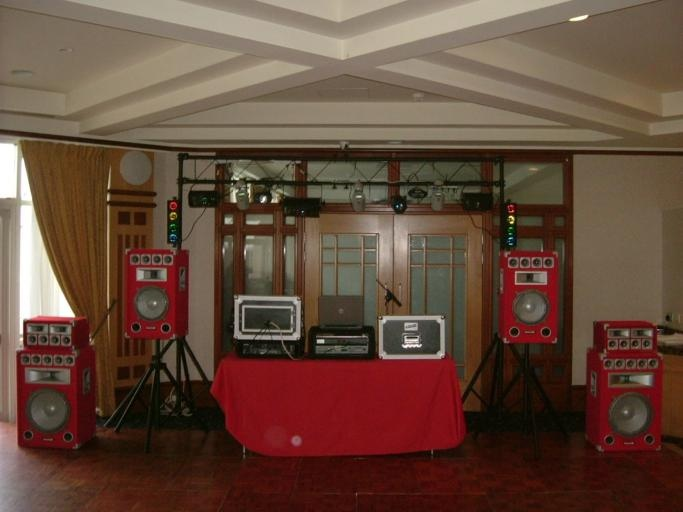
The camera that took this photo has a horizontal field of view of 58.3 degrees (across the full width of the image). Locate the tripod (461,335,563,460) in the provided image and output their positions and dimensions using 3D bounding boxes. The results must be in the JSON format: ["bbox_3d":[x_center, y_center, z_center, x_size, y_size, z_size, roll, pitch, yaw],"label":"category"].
[{"bbox_3d":[2.090,1.486,7.448,1.170,1.252,1.719,1,11,5],"label":"tripod"}]

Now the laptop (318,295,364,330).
[{"bbox_3d":[-0.002,0.596,6.849,0.455,0.324,0.328,1,-3,2],"label":"laptop"}]

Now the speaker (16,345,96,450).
[{"bbox_3d":[-3.203,1.534,6.860,0.728,1.066,0.484,1,11,4],"label":"speaker"}]

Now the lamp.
[{"bbox_3d":[-0.088,-0.764,7.961,2.570,0.464,0.592,1,11,0],"label":"lamp"}]

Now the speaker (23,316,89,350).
[{"bbox_3d":[-3.170,0.837,6.905,0.500,0.281,0.371,1,-4,0],"label":"speaker"}]

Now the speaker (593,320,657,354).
[{"bbox_3d":[3.144,0.886,6.933,0.476,0.264,0.376,0,-5,0],"label":"speaker"}]

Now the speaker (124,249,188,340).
[{"bbox_3d":[-2.094,0.452,6.949,0.713,1.051,0.435,-4,12,-19],"label":"speaker"}]
